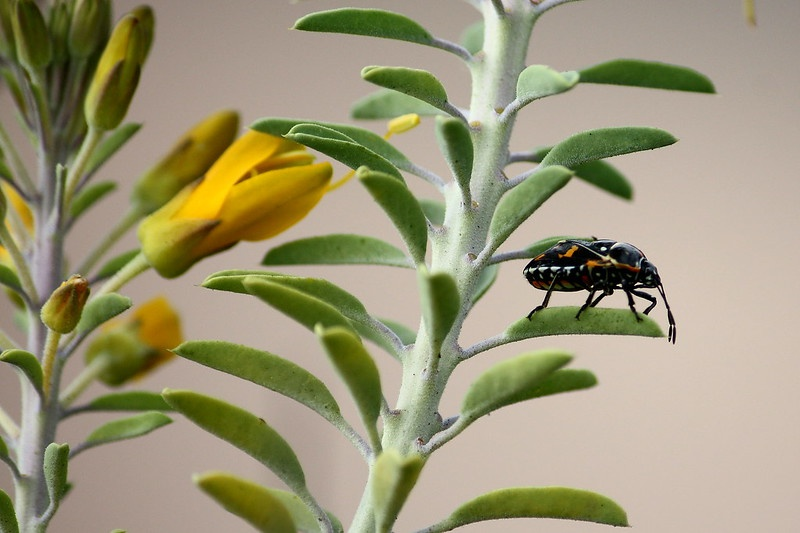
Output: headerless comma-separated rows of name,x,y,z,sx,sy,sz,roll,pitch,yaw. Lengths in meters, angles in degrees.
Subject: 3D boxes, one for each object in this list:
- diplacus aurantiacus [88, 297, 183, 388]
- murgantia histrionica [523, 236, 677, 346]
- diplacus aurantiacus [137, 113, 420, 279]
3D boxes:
diplacus aurantiacus,-0.341,0.084,1.157,0.139,0.051,0.128,-16,-42,-29
murgantia histrionica,0.217,0.019,0.936,0.169,0.106,0.096,2,-84,13
diplacus aurantiacus,-0.151,-0.090,0.966,0.320,0.104,0.118,-32,-42,20
